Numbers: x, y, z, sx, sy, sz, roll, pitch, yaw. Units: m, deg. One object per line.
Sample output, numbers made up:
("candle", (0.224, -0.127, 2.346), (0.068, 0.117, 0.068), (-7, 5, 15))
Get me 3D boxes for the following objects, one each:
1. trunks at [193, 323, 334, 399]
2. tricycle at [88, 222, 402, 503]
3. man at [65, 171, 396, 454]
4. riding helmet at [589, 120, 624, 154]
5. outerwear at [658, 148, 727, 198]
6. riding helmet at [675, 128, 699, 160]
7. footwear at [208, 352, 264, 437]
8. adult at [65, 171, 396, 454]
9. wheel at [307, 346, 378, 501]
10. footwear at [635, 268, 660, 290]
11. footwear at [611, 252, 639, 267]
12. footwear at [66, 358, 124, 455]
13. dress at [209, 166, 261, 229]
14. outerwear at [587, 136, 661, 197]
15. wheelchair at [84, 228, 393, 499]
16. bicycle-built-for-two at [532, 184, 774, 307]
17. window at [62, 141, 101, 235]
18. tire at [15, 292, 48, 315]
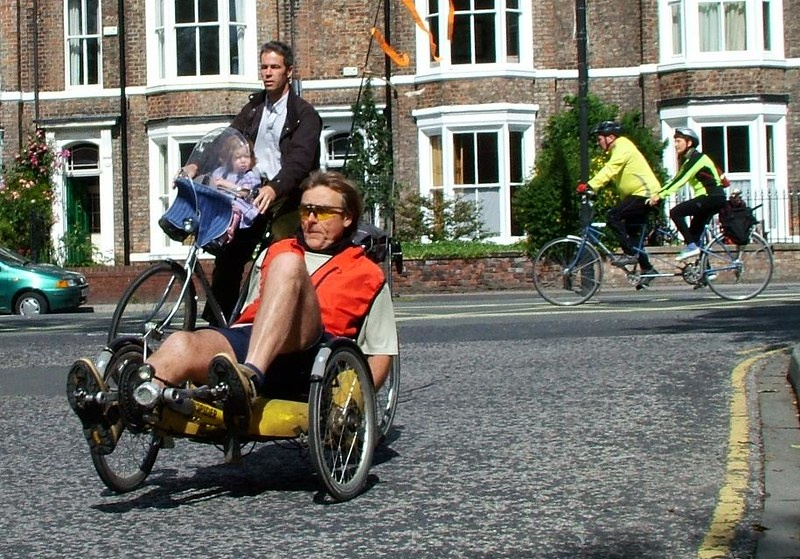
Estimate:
("trunks", (-0.880, 0.560, 7.962), (0.452, 0.567, 0.581), (1, -7, 15))
("tricycle", (-0.937, 0.600, 8.336), (1.328, 1.490, 2.259), (3, -2, 18))
("man", (-0.928, 0.061, 7.967), (1.126, 1.582, 2.267), (2, 6, 24))
("riding helmet", (2.739, -1.942, 16.839), (0.417, 0.399, 0.329), (-5, 8, 10))
("outerwear", (3.802, -1.381, 16.525), (0.728, 0.622, 0.909), (-1, 3, 23))
("riding helmet", (3.738, -1.849, 16.738), (0.403, 0.389, 0.309), (2, 1, -5))
("footwear", (-0.992, 0.687, 7.618), (0.190, 0.563, 0.257), (-6, 17, 4))
("adult", (-0.944, 0.082, 7.988), (1.212, 1.585, 2.268), (1, 5, 21))
("wheel", (-0.373, 0.913, 7.986), (0.254, 1.006, 1.014), (-4, -5, 20))
("footwear", (3.395, -0.012, 17.449), (0.313, 0.391, 0.884), (2, 2, 16))
("footwear", (2.918, -0.257, 16.511), (0.419, 0.192, 0.151), (-2, 7, -9))
("footwear", (-1.824, 0.757, 7.577), (0.223, 0.669, 0.306), (-9, 13, 12))
("dress", (-1.224, -0.611, 9.240), (0.416, 0.409, 0.166), (24, -30, -1))
("outerwear", (2.930, -1.428, 16.410), (0.734, 0.789, 1.298), (1, 1, 13))
("wheelchair", (-0.790, 0.435, 8.847), (1.764, 1.945, 2.980), (-1, -2, 26))
("bicycle-built-for-two", (3.415, -0.396, 17.274), (3.440, 1.668, 1.467), (1, 4, 0))
("window", (-7.298, -2.166, 28.776), (0.902, 2.314, 0.344), (-4, -18, -7))
("tire", (-6.431, 0.405, 21.651), (0.364, 0.364, 0.118), (2, -7, 1))
